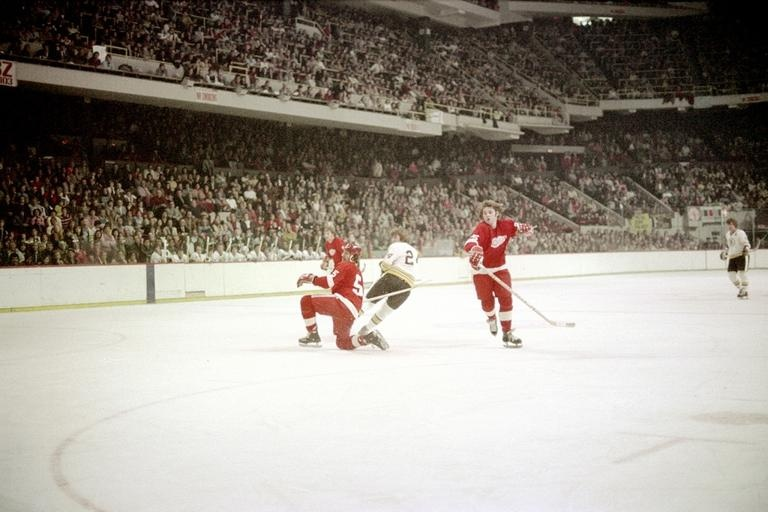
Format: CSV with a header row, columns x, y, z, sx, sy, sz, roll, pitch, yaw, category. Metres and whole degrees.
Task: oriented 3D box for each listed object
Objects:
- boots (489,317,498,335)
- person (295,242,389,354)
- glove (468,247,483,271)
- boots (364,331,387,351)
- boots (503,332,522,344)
x,y,z,sx,sy,sz,roll,pitch,yaw,category
2.061,1.308,12.319,0.133,0.417,0.160,-8,8,20,boots
-0.801,0.755,11.621,1.514,1.847,0.678,-1,8,-2,person
1.690,0.035,11.763,0.254,0.380,0.144,0,4,21,glove
-0.137,1.467,11.446,0.206,0.216,0.510,-13,-42,20,boots
2.314,1.484,11.679,0.335,0.256,0.257,1,8,9,boots
